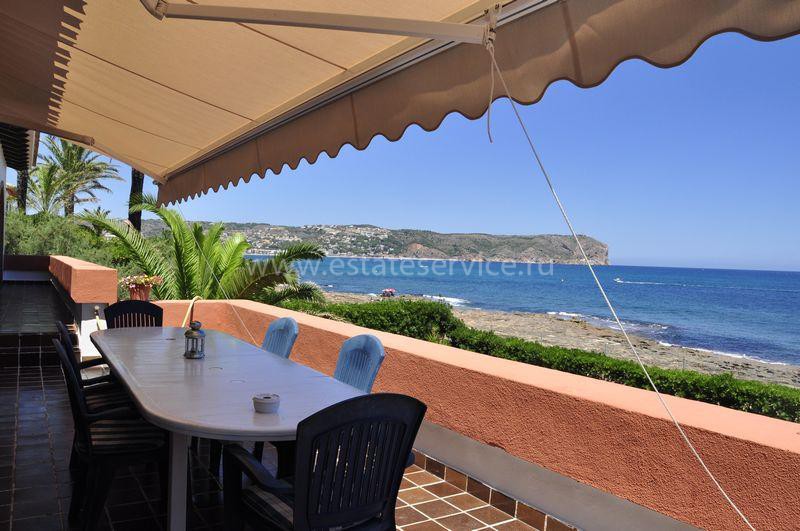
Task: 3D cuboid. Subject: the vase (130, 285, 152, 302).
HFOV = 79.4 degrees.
[{"bbox_3d":[-3.862,0.418,7.189,0.403,0.288,0.407,1,-7,-30],"label":"vase"}]
